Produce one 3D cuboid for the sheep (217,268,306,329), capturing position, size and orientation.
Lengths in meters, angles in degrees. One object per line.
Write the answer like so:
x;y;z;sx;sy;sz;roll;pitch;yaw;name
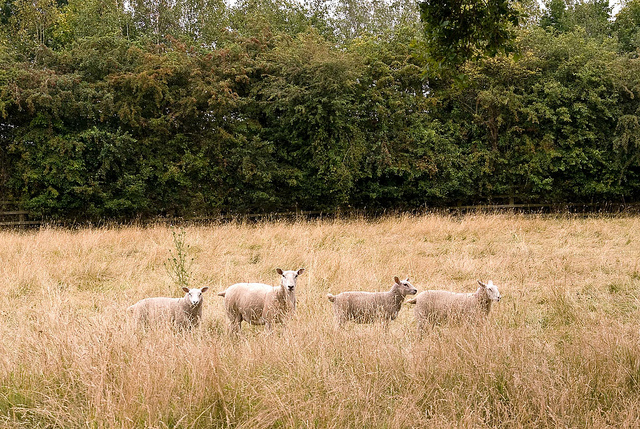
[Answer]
-1.654;2.645;23.453;3.023;2.200;1.142;-2;0;39;sheep
